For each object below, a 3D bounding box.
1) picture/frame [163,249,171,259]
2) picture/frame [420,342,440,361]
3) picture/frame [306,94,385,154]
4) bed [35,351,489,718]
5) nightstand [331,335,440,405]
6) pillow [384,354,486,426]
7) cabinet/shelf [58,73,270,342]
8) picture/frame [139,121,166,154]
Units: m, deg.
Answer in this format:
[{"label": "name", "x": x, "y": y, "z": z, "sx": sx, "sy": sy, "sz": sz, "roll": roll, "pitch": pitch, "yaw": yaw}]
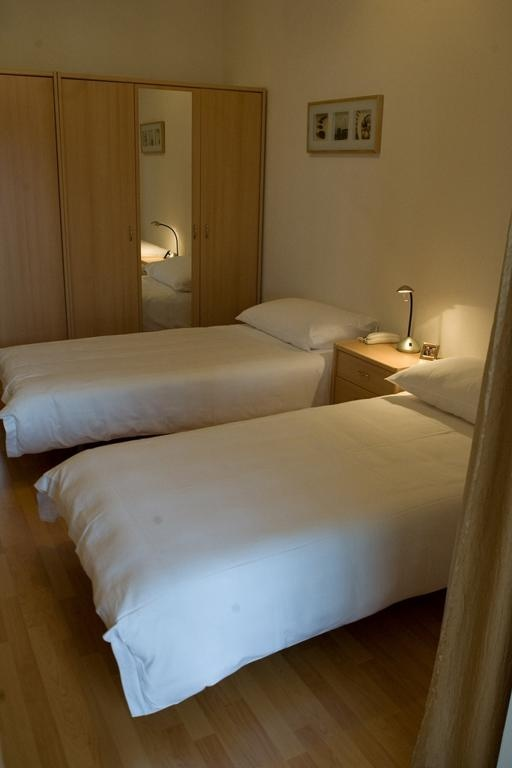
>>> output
[{"label": "picture/frame", "x": -0.647, "y": -0.954, "z": 3.925, "sx": 0.019, "sy": 0.062, "sz": 0.040, "roll": 23, "pitch": -6, "yaw": -35}, {"label": "picture/frame", "x": 0.848, "y": -0.161, "z": 2.602, "sx": 0.081, "sy": 0.094, "sz": 0.013, "roll": 19, "pitch": -10, "yaw": 22}, {"label": "picture/frame", "x": 0.511, "y": -1.530, "z": 3.184, "sx": 0.552, "sy": 0.288, "sz": 0.027, "roll": -17, "pitch": 29, "yaw": -28}, {"label": "bed", "x": 0.214, "y": 0.329, "z": 1.591, "sx": 1.347, "sy": 0.360, "sz": 0.844, "roll": -17, "pitch": 40, "yaw": -28}, {"label": "nightstand", "x": 0.647, "y": -0.122, "z": 2.780, "sx": 0.283, "sy": 0.429, "sz": 0.418, "roll": -11, "pitch": 27, "yaw": -26}, {"label": "pillow", "x": 0.743, "y": -0.005, "z": 2.171, "sx": 0.327, "sy": 0.123, "sz": 0.362, "roll": 9, "pitch": 23, "yaw": 41}, {"label": "cabinet/shelf", "x": -0.693, "y": -1.280, "z": 3.769, "sx": 1.632, "sy": 2.102, "sz": 0.549, "roll": -6, "pitch": 20, "yaw": -27}, {"label": "picture/frame", "x": -0.708, "y": -1.693, "z": 3.675, "sx": 0.172, "sy": 0.219, "sz": 0.028, "roll": -7, "pitch": 16, "yaw": -32}]
